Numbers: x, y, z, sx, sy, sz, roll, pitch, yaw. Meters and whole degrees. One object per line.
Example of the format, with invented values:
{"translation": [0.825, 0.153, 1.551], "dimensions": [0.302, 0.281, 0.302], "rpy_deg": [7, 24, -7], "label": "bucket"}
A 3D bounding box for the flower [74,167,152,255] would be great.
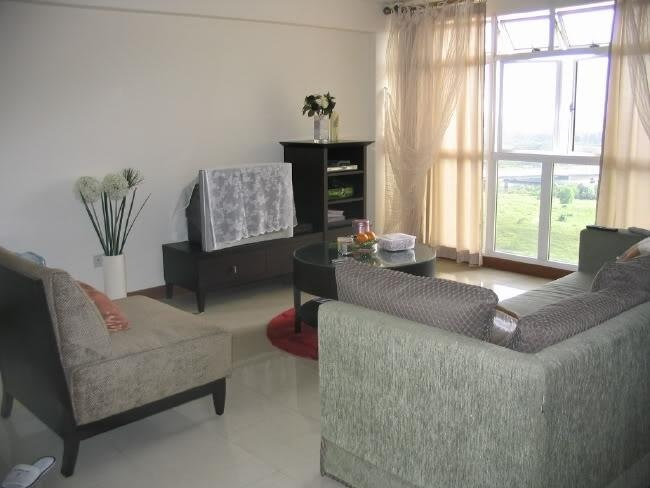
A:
{"translation": [-1.877, -0.280, 4.136], "dimensions": [0.478, 0.659, 0.454], "rpy_deg": [-21, -10, 35], "label": "flower"}

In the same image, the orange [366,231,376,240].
{"translation": [0.394, -0.055, 4.083], "dimensions": [0.067, 0.063, 0.066], "rpy_deg": [-42, 12, -22], "label": "orange"}

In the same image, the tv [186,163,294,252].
{"translation": [-1.020, -0.386, 4.927], "dimensions": [0.533, 0.743, 1.015], "rpy_deg": [2, 9, 26], "label": "tv"}

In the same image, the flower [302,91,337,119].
{"translation": [-0.094, -1.622, 5.594], "dimensions": [0.350, 0.277, 0.506], "rpy_deg": [-2, 15, -7], "label": "flower"}

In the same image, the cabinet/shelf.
{"translation": [0.065, -0.621, 5.757], "dimensions": [0.590, 1.214, 0.941], "rpy_deg": [11, 18, 38], "label": "cabinet/shelf"}

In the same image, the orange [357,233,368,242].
{"translation": [0.306, -0.050, 3.985], "dimensions": [0.068, 0.042, 0.067], "rpy_deg": [-16, 20, -38], "label": "orange"}
